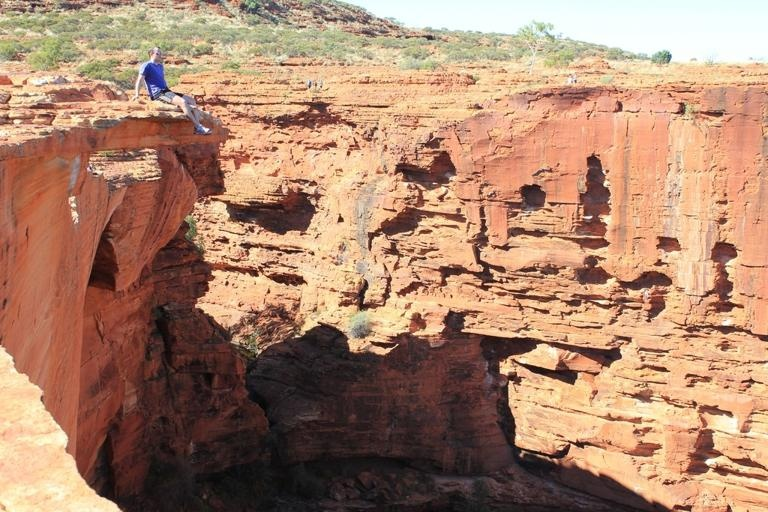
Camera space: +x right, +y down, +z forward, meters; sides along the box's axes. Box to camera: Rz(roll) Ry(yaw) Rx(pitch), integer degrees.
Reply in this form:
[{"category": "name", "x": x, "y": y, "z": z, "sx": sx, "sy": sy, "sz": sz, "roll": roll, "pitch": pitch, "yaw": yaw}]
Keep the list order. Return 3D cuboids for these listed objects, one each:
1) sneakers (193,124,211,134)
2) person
[{"category": "sneakers", "x": -3.472, "y": -2.443, "z": 13.273, "sx": 0.313, "sy": 0.123, "sz": 0.139, "roll": 12, "pitch": 41, "yaw": 32}, {"category": "person", "x": -4.114, "y": -3.180, "z": 13.201, "sx": 1.428, "sy": 1.567, "sz": 0.575, "roll": 6, "pitch": 9, "yaw": 15}]
